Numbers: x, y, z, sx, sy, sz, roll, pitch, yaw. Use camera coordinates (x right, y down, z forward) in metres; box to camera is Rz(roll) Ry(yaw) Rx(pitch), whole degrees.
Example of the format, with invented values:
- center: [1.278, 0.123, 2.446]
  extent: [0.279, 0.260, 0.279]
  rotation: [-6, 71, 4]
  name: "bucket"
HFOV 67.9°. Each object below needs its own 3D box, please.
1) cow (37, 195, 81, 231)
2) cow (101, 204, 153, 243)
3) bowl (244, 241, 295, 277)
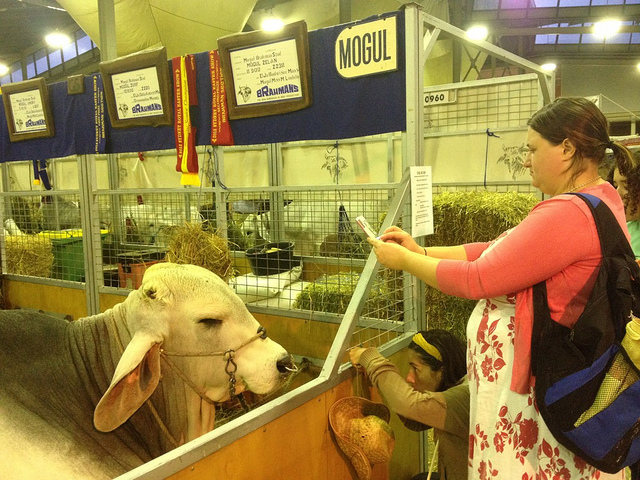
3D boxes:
- center: [-3.765, -0.379, 6.991]
  extent: [0.471, 0.602, 2.852]
  rotation: [-7, 10, -28]
  name: "cow"
- center: [-2.189, -0.305, 5.561]
  extent: [0.459, 0.655, 0.894]
  rotation: [1, 1, -20]
  name: "cow"
- center: [-0.381, 0.149, 3.928]
  extent: [0.310, 0.137, 0.298]
  rotation: [-8, 15, 2]
  name: "bowl"
